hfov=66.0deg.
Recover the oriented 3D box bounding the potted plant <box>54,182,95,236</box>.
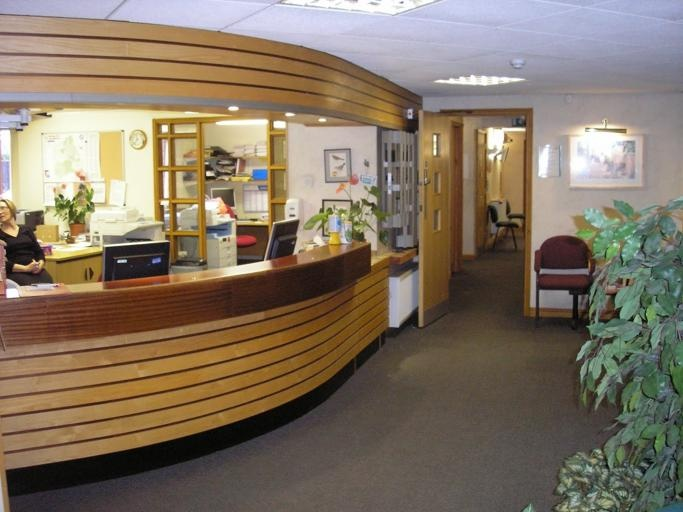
[{"bbox_3d":[-4.488,-0.810,8.846,0.599,0.810,1.574,-6,12,-27],"label":"potted plant"}]

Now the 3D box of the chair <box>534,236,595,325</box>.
[{"bbox_3d":[3.119,0.303,7.430,0.766,1.304,0.882,5,12,24],"label":"chair"}]

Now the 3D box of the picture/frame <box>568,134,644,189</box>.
[{"bbox_3d":[3.875,-1.399,7.620,0.940,0.583,0.020,0,7,11],"label":"picture/frame"}]

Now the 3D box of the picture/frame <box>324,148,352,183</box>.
[{"bbox_3d":[-0.046,-1.148,6.559,0.507,0.534,0.022,1,6,5],"label":"picture/frame"}]

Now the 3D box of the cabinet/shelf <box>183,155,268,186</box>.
[{"bbox_3d":[-1.965,-1.607,9.622,1.067,0.437,0.500,-2,11,-11],"label":"cabinet/shelf"}]

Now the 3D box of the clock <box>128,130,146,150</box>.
[{"bbox_3d":[-3.581,-2.026,9.139,0.358,0.311,0.070,-1,1,10],"label":"clock"}]

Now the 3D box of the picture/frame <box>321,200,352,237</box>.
[{"bbox_3d":[-0.075,-0.448,6.425,0.382,0.452,0.595,0,11,0],"label":"picture/frame"}]

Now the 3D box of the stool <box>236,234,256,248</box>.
[{"bbox_3d":[-1.788,-0.283,9.743,0.320,0.192,0.609,-1,11,-5],"label":"stool"}]
